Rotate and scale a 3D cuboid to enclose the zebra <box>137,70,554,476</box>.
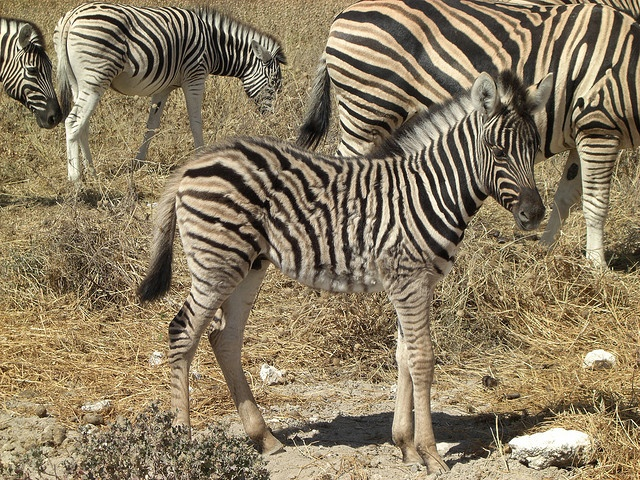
[{"bbox_3d":[0.278,0.352,6.332,2.652,2.876,0.835,1,-1,5],"label":"zebra"}]
